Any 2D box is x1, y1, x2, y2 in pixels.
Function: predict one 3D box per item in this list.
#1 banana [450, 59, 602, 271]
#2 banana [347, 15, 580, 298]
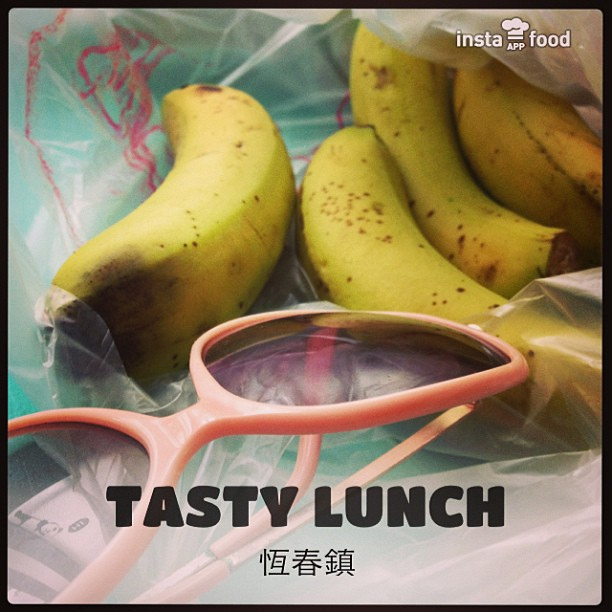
[{"bbox_3d":[0.241,-0.150,0.776,0.273,0.091,0.073,40,91,13],"label":"banana"},{"bbox_3d":[0.175,-0.159,0.778,0.189,0.088,0.281,-30,76,-31],"label":"banana"}]
